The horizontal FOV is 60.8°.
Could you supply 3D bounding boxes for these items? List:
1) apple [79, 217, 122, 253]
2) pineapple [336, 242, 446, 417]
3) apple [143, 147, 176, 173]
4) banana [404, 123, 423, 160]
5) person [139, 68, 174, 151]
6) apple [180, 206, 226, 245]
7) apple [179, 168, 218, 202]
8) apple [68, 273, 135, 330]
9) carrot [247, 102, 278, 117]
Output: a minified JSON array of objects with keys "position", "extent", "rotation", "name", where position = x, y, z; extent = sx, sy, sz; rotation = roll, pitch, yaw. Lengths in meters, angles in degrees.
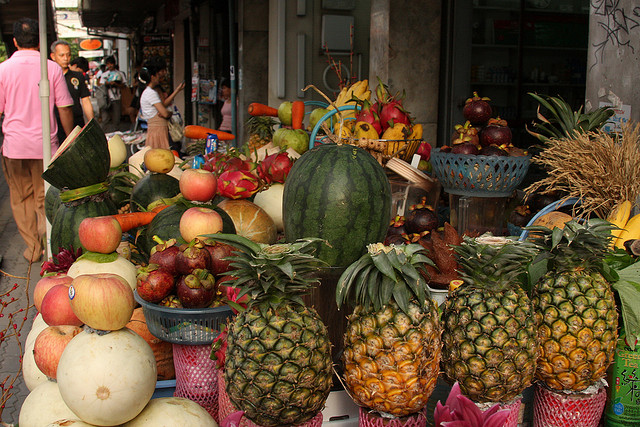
[{"position":[-1.217,0.127,3.025],"extent":[0.216,0.207,0.110],"rotation":[-1,10,-21],"name":"apple"},{"position":[0.321,0.503,2.295],"extent":[0.447,0.710,0.434],"rotation":[-11,15,-31],"name":"pineapple"},{"position":[-1.094,-0.357,3.704],"extent":[0.141,0.108,0.180],"rotation":[12,5,-22],"name":"apple"},{"position":[0.662,-0.507,3.838],"extent":[0.092,0.264,0.126],"rotation":[15,5,28],"name":"banana"},{"position":[-3.163,-2.025,10.571],"extent":[0.580,1.492,0.972],"rotation":[-1,10,-19],"name":"person"},{"position":[-0.643,0.083,2.935],"extent":[0.187,0.188,0.182],"rotation":[-8,2,11],"name":"apple"},{"position":[-0.691,-0.161,3.157],"extent":[0.186,0.184,0.188],"rotation":[-3,17,-36],"name":"apple"},{"position":[-0.999,0.377,2.601],"extent":[0.269,0.262,0.274],"rotation":[-11,15,-41],"name":"apple"},{"position":[-0.469,-0.910,4.826],"extent":[0.332,0.107,0.102],"rotation":[1,0,-37],"name":"carrot"}]
